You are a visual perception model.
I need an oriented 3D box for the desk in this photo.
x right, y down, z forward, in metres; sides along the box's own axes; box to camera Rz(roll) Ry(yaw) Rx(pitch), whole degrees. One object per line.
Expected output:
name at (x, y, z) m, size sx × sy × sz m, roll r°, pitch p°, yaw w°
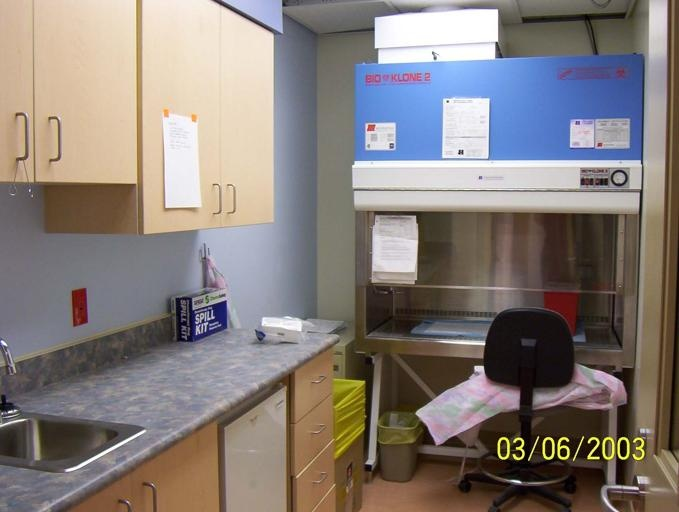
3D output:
desk at (0.872, 0.812, 3.204) m, size 1.299 × 0.907 × 0.711 m, roll 1°, pitch 10°, yaw 18°

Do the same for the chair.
chair at (1.024, 0.814, 3.053) m, size 0.572 × 1.179 × 0.650 m, roll 11°, pitch 12°, yaw 41°

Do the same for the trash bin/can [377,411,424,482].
trash bin/can at (0.372, 1.206, 3.466) m, size 0.261 × 0.313 × 0.402 m, roll -3°, pitch -9°, yaw 20°
